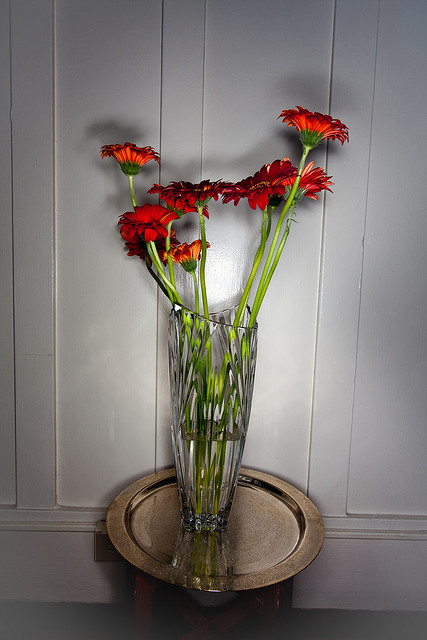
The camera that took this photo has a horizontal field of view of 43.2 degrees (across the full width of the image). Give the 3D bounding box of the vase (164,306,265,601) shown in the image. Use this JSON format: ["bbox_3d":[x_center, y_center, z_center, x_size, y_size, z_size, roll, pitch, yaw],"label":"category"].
[{"bbox_3d":[-0.012,0.201,0.909,0.138,0.503,0.145,13,19,24],"label":"vase"}]

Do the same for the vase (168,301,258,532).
[{"bbox_3d":[-0.005,0.160,0.883,0.139,0.382,0.074,1,12,-6],"label":"vase"}]
